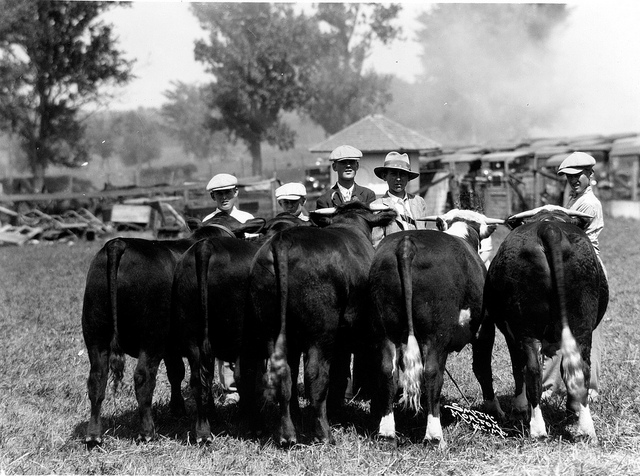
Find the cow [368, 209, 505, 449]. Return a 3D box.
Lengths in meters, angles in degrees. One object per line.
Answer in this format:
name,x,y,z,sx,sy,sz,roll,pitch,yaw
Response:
cow,1.888,1.243,13.357,1.620,3.416,4.989,-2,1,21

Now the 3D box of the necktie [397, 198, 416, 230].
necktie,1.310,-0.422,12.995,0.144,0.573,0.171,-33,-13,31

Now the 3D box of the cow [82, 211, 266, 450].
cow,-2.206,1.220,13.406,1.404,3.071,4.408,1,3,13

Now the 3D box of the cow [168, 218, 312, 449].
cow,-1.266,1.159,13.704,1.417,3.369,4.572,-4,5,10

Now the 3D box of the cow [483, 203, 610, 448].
cow,3.095,1.175,11.725,1.534,2.896,1.520,4,15,19

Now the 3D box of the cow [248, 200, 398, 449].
cow,0.166,1.091,13.018,1.451,3.260,4.467,-1,4,18
